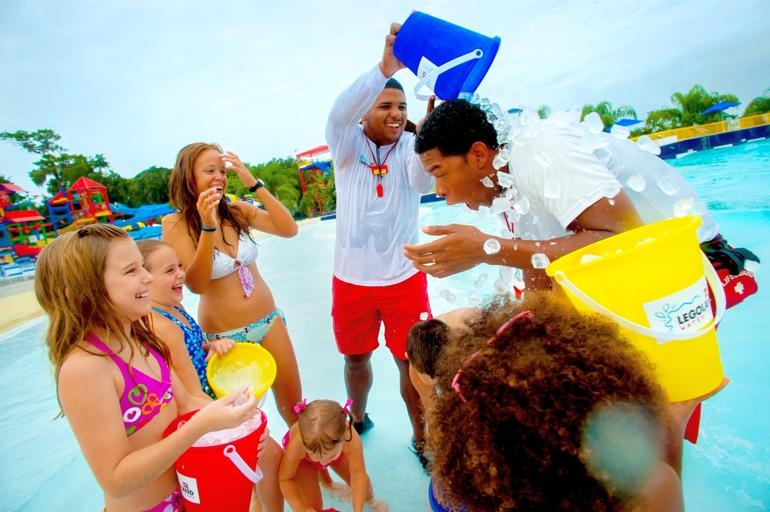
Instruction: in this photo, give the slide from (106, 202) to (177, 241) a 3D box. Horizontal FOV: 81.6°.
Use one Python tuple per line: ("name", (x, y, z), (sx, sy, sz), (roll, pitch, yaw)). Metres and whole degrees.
("slide", (-8.663, -1.287, 15.755), (2.444, 0.755, 2.400), (-13, 27, -34))
